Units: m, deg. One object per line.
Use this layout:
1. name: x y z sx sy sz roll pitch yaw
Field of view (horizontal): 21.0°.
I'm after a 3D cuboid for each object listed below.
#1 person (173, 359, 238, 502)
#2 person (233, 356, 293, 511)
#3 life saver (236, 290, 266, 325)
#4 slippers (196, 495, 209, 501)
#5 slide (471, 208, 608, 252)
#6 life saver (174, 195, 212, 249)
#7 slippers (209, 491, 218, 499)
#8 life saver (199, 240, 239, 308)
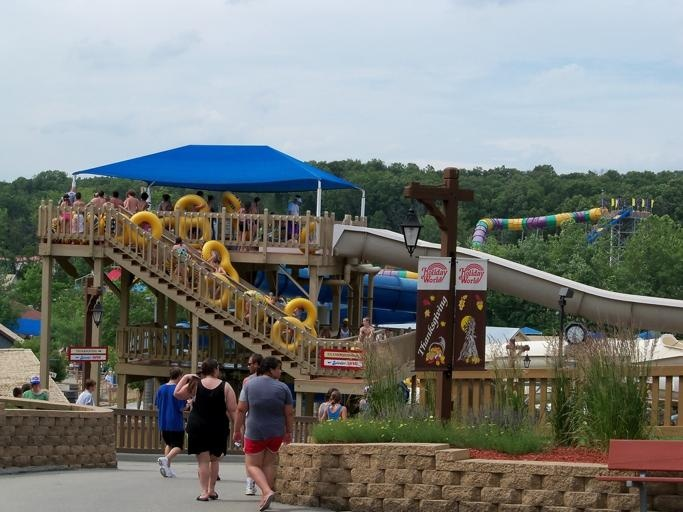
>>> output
1. person: -2.929 3.895 41.290 1.054 3.027 1.232 0 -2 3
2. person: -1.679 3.853 40.203 1.252 3.332 0.632 -1 -2 -3
3. life saver: -2.509 1.445 52.241 0.616 0.881 0.823 12 0 -31
4. slippers: -3.046 5.324 40.608 0.296 0.132 0.274 -1 -2 2
5. slide: 11.249 -1.593 104.989 7.703 2.244 3.253 -4 -1 7
6. life saver: -4.357 -0.941 54.342 1.317 2.221 0.434 3 17 5
7. slippers: -2.767 5.300 40.849 0.179 0.148 0.409 -2 -2 19
8. life saver: -3.533 0.588 52.834 1.524 2.418 0.414 -6 -18 -13
